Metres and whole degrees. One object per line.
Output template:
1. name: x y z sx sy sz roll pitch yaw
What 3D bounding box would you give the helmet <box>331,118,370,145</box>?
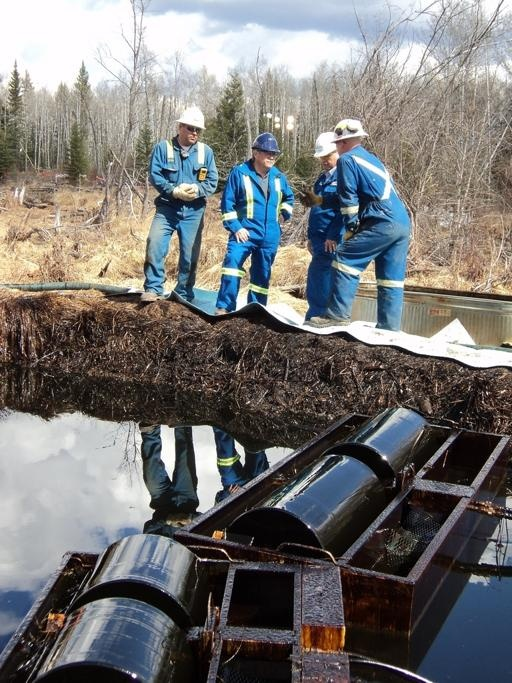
1. helmet: 1.115 -2.386 6.254 0.453 0.240 0.480 2 15 35

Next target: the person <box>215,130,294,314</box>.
1. person: -0.028 -1.446 6.789 0.629 2.200 1.015 8 9 35

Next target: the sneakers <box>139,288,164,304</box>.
1. sneakers: -1.343 -0.587 7.116 0.137 0.126 0.293 -2 -4 30

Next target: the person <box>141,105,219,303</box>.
1. person: -0.971 -1.774 7.029 0.908 2.560 0.754 -4 10 -41

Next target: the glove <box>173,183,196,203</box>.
1. glove: -0.867 -1.868 6.808 0.303 0.204 0.126 -2 9 -34

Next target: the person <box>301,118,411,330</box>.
1. person: 1.216 -1.132 6.015 0.906 2.014 0.506 3 7 4

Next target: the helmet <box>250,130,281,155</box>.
1. helmet: 0.114 -2.370 6.579 0.273 0.183 0.328 -2 26 -41

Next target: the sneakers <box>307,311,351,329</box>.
1. sneakers: 0.834 -0.258 6.281 0.449 0.185 0.164 7 7 12
